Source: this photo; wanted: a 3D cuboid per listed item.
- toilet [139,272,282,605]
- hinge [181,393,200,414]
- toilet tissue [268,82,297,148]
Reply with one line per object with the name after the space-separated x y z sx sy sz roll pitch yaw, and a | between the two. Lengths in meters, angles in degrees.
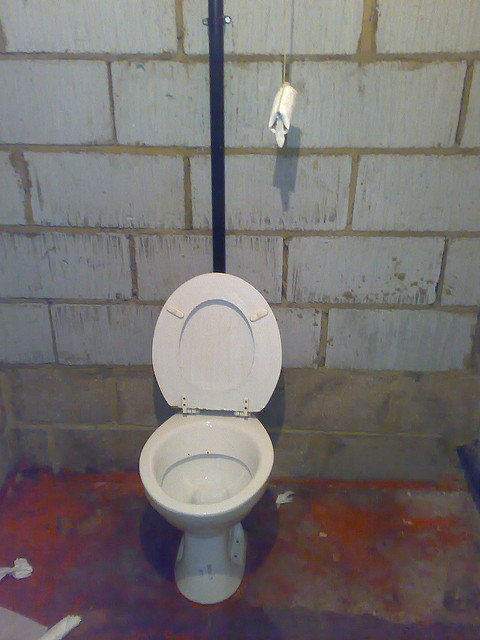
-0.093 0.447 1.748 0.293 0.990 0.536 2 25 -6 | toilet
-0.183 0.303 1.888 0.051 0.098 0.054 -2 29 -4 | hinge
0.138 -0.683 1.700 0.050 0.241 0.081 6 -23 20 | toilet tissue
